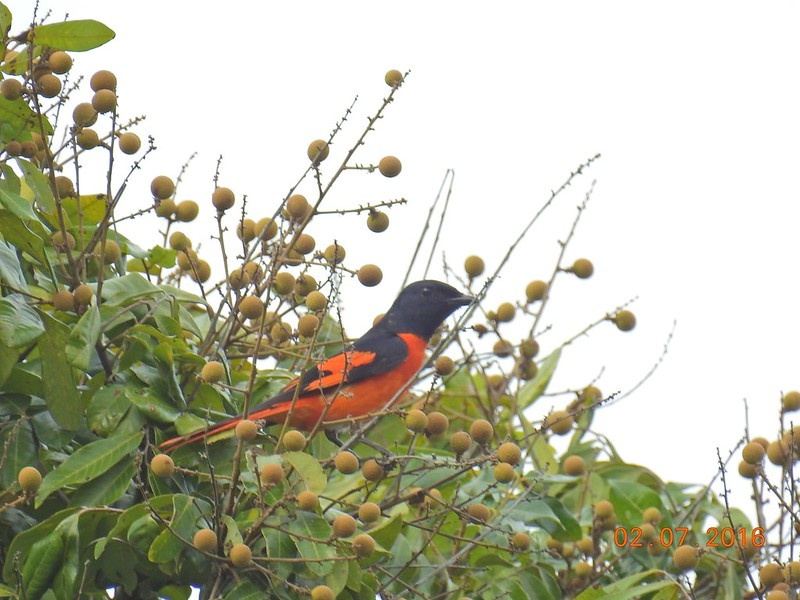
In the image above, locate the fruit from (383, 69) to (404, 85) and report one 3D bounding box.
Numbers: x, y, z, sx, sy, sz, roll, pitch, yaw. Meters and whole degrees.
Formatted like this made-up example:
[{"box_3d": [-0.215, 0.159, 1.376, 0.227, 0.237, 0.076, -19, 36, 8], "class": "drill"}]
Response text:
[{"box_3d": [-0.026, -0.837, 4.828, 0.062, 0.070, 0.031, 4, -39, 24], "class": "fruit"}]
